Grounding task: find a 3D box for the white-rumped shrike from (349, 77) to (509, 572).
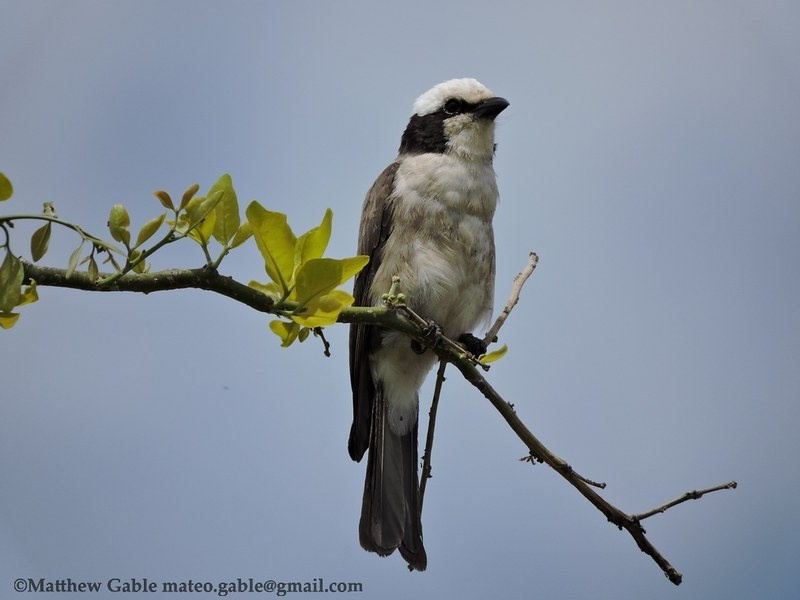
[{"bbox_3d":[0.083,0.117,4.755,0.522,1.730,0.875,4,-40,-1],"label":"white-rumped shrike"}]
